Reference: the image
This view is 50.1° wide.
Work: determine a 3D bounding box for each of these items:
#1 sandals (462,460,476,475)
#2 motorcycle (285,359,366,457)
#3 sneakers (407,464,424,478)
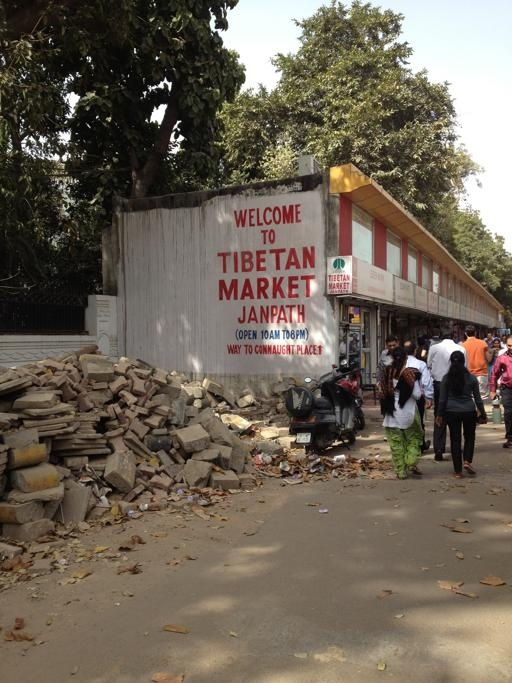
[{"bbox_3d":[2.708,1.588,6.936,0.151,0.197,0.313,-1,-2,21],"label":"sandals"},{"bbox_3d":[1.256,1.043,8.873,0.802,1.185,2.055,-17,3,28],"label":"motorcycle"},{"bbox_3d":[2.075,1.672,7.143,0.112,0.167,0.247,2,2,24],"label":"sneakers"}]
